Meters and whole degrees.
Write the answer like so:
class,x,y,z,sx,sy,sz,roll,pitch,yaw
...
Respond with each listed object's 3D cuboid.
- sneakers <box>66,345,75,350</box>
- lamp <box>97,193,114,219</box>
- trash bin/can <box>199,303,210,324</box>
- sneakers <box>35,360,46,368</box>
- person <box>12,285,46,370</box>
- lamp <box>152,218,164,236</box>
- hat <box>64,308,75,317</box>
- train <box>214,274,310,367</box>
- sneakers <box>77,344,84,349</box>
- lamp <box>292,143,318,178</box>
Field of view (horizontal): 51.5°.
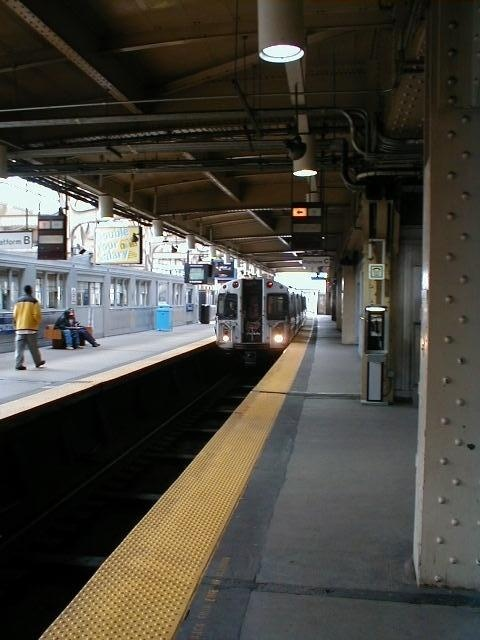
class,x,y,z,sx,sy,sz,roll,pitch,yaw
sneakers,-5.349,0.903,15.694,0.149,0.108,0.334,-2,1,-39
lamp,-2.987,-2.583,11.102,0.304,0.585,0.528,2,0,-20
trash bin/can,-2.286,-0.387,33.404,0.503,1.283,1.265,1,0,20
sneakers,-4.643,1.045,11.556,0.119,0.173,0.375,4,2,-8
person,-4.710,0.199,11.091,0.599,2.016,1.095,2,0,-22
lamp,-2.457,-2.764,14.834,0.285,0.507,0.566,2,0,-13
hat,-5.497,-0.230,15.973,0.181,0.281,0.572,6,9,-11
train,0.427,-0.151,15.533,2.280,2.541,0.878,2,0,-13
sneakers,-5.175,0.888,16.110,0.078,0.109,0.269,6,13,18
lamp,1.011,-2.267,7.260,0.397,0.476,0.414,-4,-5,19
